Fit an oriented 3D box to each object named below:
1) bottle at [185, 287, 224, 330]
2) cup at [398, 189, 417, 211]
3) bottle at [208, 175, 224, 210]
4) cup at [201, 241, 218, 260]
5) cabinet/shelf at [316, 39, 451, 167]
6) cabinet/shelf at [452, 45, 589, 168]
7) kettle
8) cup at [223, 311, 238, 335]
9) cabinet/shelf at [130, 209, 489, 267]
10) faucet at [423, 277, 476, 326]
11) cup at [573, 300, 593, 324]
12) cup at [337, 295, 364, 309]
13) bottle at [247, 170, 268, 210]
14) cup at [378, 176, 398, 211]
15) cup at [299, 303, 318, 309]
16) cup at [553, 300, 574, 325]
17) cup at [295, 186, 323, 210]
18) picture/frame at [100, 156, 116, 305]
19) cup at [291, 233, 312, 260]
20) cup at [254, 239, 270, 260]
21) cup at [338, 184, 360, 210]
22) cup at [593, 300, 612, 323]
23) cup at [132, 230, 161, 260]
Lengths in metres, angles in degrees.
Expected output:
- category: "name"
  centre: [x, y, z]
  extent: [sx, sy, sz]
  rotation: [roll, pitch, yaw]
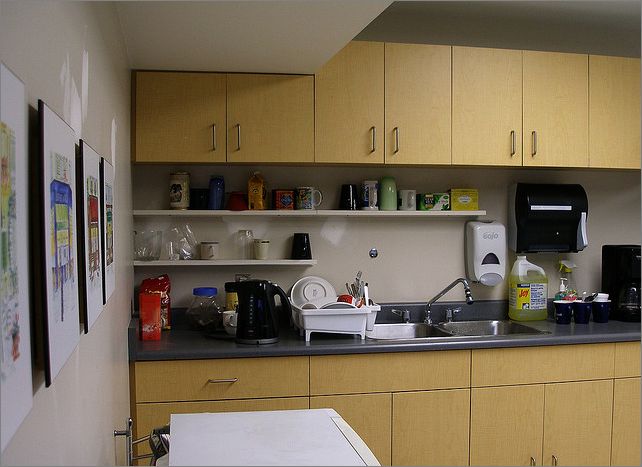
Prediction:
- category: "bottle"
  centre: [-0.622, 0.425, 3.222]
  extent: [0.218, 0.212, 0.218]
  rotation: [1, -5, 0]
- category: "cup"
  centre: [0.514, -0.193, 3.413]
  extent: [0.089, 0.110, 0.120]
  rotation: [0, 2, -18]
- category: "bottle"
  centre: [-0.575, -0.223, 3.197]
  extent: [0.075, 0.190, 0.049]
  rotation: [0, -4, -26]
- category: "cup"
  centre: [-0.618, 0.108, 3.213]
  extent: [0.075, 0.075, 0.097]
  rotation: [0, 2, -24]
- category: "cabinet/shelf"
  centre: [0.323, -0.723, 3.115]
  extent: [0.652, 0.564, 0.251]
  rotation: [0, -3, -4]
- category: "cabinet/shelf"
  centre: [1.104, -0.714, 3.231]
  extent: [0.659, 0.502, 0.258]
  rotation: [0, 3, -5]
- category: "kettle"
  centre: [-0.259, 0.409, 2.972]
  extent: [0.326, 0.337, 0.206]
  rotation: [1, -2, -4]
- category: "cup"
  centre: [-0.471, 0.478, 3.011]
  extent: [0.083, 0.082, 0.111]
  rotation: [1, 2, 12]
- category: "cabinet/shelf"
  centre: [-0.015, -0.001, 3.310]
  extent: [2.039, 0.281, 0.196]
  rotation: [-1, -3, -9]
- category: "faucet"
  centre: [0.764, 0.409, 3.416]
  extent: [0.291, 0.269, 0.379]
  rotation: [-2, -3, 15]
- category: "cup"
  centre: [1.534, 0.468, 3.357]
  extent: [0.093, 0.138, 0.077]
  rotation: [-3, -3, 25]
- category: "cup"
  centre: [0.156, 0.362, 3.008]
  extent: [0.089, 0.056, 0.070]
  rotation: [9, 1, 24]
- category: "bottle"
  centre: [-0.348, -0.237, 3.238]
  extent: [0.111, 0.225, 0.079]
  rotation: [0, -3, -24]
- category: "cup"
  centre: [0.396, -0.228, 3.347]
  extent: [0.103, 0.195, 0.060]
  rotation: [-1, -3, -4]
- category: "cup"
  centre: [-0.057, 0.386, 2.970]
  extent: [0.096, 0.029, 0.062]
  rotation: [-2, -3, 12]
- category: "cup"
  centre: [1.458, 0.469, 3.381]
  extent: [0.198, 0.141, 0.093]
  rotation: [1, -4, -40]
- category: "cup"
  centre: [-0.051, -0.199, 3.329]
  extent: [0.104, 0.140, 0.220]
  rotation: [-3, -4, 34]
- category: "picture/frame"
  centre: [-0.780, -0.006, 2.110]
  extent: [0.040, 0.519, 0.387]
  rotation: [0, -3, -19]
- category: "cup"
  centre: [-0.113, 0.080, 3.301]
  extent: [0.134, 0.149, 0.133]
  rotation: [-1, -2, 0]
- category: "cup"
  centre: [-0.346, 0.095, 3.273]
  extent: [0.095, 0.122, 0.090]
  rotation: [-1, -3, 0]
- category: "cup"
  centre: [0.163, -0.210, 3.353]
  extent: [0.118, 0.165, 0.114]
  rotation: [-1, -3, 0]
- category: "cup"
  centre: [1.653, 0.466, 3.376]
  extent: [0.117, 0.120, 0.120]
  rotation: [0, 0, 0]
- category: "cup"
  centre: [-0.955, 0.082, 3.238]
  extent: [0.149, 0.171, 0.154]
  rotation: [-1, -15, 0]
